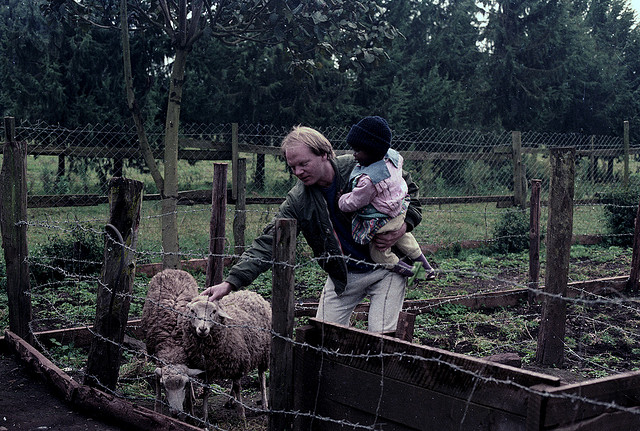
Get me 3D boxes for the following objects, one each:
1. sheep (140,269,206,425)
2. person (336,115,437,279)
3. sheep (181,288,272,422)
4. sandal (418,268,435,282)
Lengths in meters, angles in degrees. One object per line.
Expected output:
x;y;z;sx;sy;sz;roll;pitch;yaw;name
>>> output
-2.486;2.072;11.666;0.782;1.635;2.989;0;33;-8;sheep
0.787;-0.261;10.156;1.072;2.305;0.422;0;3;-2;person
-1.590;2.339;11.953;1.137;2.181;2.561;-1;-1;21;sheep
1.561;0.868;10.343;0.247;0.129;0.099;0;1;19;sandal
